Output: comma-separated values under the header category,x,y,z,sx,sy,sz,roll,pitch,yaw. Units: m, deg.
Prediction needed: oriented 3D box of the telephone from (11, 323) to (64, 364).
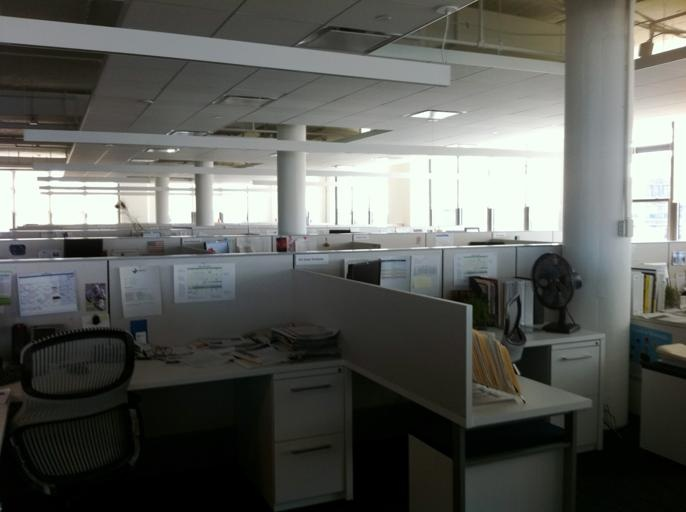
category,x,y,z,sx,sy,sz,roll,pitch,yaw
telephone,-1.853,0.528,3.270,0.276,0.129,0.237,-7,12,-39

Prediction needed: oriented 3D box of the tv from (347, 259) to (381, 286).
category,x,y,z,sx,sy,sz,roll,pitch,yaw
tv,0.172,0.136,3.929,0.293,0.190,0.140,-5,5,-28

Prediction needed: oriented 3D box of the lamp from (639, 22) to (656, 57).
category,x,y,z,sx,sy,sz,roll,pitch,yaw
lamp,3.067,-2.187,5.303,0.135,0.290,0.134,0,5,29
